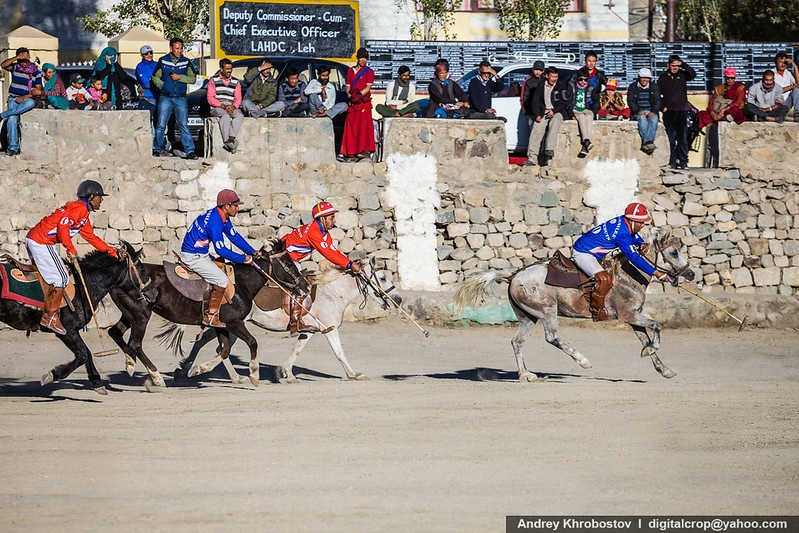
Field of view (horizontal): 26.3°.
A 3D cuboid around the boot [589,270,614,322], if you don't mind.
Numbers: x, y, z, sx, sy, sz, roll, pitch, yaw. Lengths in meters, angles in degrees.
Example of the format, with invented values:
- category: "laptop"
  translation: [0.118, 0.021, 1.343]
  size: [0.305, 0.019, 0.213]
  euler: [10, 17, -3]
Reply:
- category: "boot"
  translation: [4.281, 0.627, 36.208]
  size: [0.460, 1.043, 0.301]
  euler: [0, 6, 6]

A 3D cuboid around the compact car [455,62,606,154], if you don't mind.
- category: "compact car"
  translation: [3.264, -3.915, 42.514]
  size: [2.389, 2.307, 2.888]
  euler: [-4, 7, -29]

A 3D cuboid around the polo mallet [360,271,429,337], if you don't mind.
- category: "polo mallet"
  translation: [-0.163, 0.950, 39.605]
  size: [2.058, 0.230, 0.275]
  euler: [42, 36, 7]

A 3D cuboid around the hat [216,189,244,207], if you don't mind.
- category: "hat"
  translation: [-3.549, -1.408, 35.430]
  size: [0.442, 0.237, 0.315]
  euler: [0, 16, -10]

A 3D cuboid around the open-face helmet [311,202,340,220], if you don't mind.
- category: "open-face helmet"
  translation: [-1.584, -1.199, 36.132]
  size: [0.464, 0.225, 0.343]
  euler: [-10, 9, 9]

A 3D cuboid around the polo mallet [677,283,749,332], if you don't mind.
- category: "polo mallet"
  translation: [7.562, 1.063, 41.458]
  size: [2.057, 0.265, 0.363]
  euler: [28, 29, 17]

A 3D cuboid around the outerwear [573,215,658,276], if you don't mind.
- category: "outerwear"
  translation: [4.476, -0.471, 36.333]
  size: [1.745, 1.013, 1.316]
  euler: [10, -37, -7]

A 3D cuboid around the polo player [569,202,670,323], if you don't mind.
- category: "polo player"
  translation: [4.746, -0.094, 36.350]
  size: [2.376, 2.310, 1.363]
  euler: [13, 24, 30]

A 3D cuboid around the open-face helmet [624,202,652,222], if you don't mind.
- category: "open-face helmet"
  translation: [5.043, -1.108, 36.040]
  size: [0.508, 0.256, 0.405]
  euler: [3, 21, -4]

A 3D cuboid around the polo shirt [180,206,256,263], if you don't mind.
- category: "polo shirt"
  translation: [-3.790, -0.692, 35.785]
  size: [1.474, 0.939, 1.015]
  euler: [9, 25, -11]

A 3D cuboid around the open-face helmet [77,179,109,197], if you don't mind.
- category: "open-face helmet"
  translation: [-6.258, -1.572, 34.805]
  size: [0.542, 0.291, 0.390]
  euler: [-6, 8, -19]

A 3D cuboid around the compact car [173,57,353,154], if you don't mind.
- category: "compact car"
  translation: [-3.148, -4.135, 41.903]
  size: [4.007, 1.641, 2.152]
  euler: [0, 1, -34]
